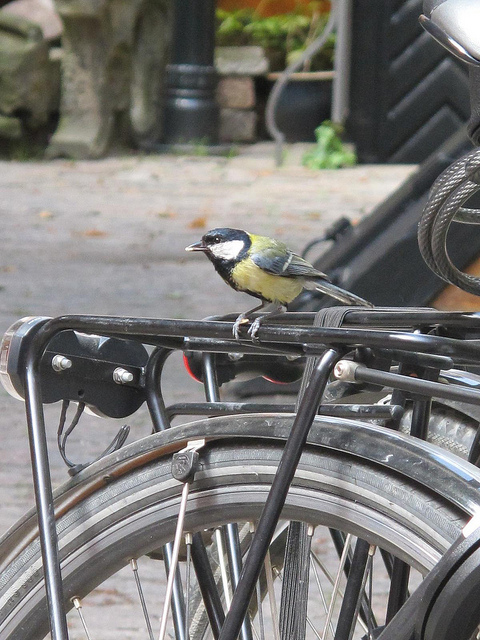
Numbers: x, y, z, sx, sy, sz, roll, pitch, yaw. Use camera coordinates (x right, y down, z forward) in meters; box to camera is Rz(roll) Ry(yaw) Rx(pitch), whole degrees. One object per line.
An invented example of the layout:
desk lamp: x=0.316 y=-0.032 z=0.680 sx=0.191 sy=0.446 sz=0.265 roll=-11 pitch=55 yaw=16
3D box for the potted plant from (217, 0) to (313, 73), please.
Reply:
potted plant: x=0.107 y=-1.338 z=8.205 sx=0.416 sy=0.405 sz=0.754 roll=0 pitch=15 yaw=-3

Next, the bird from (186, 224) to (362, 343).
bird: x=0.108 y=-0.108 z=4.357 sx=0.479 sy=0.304 sz=0.166 roll=-8 pitch=4 yaw=-26
